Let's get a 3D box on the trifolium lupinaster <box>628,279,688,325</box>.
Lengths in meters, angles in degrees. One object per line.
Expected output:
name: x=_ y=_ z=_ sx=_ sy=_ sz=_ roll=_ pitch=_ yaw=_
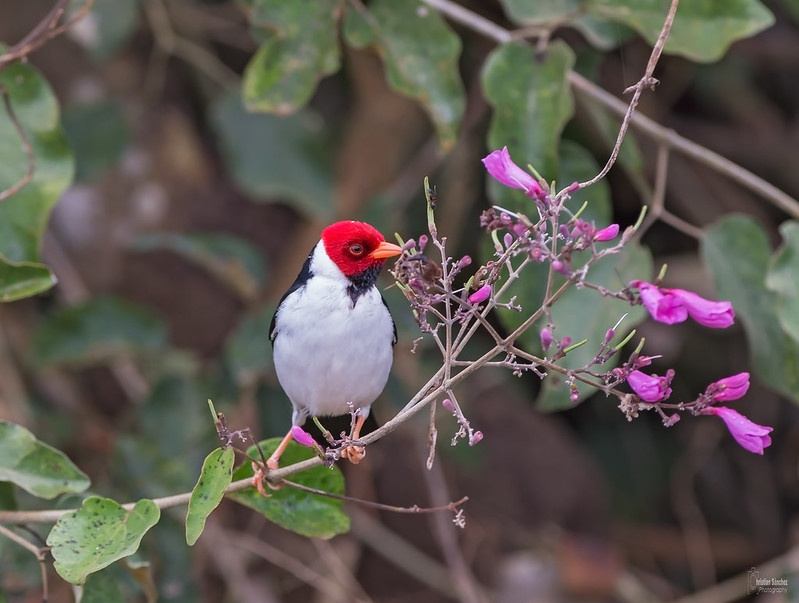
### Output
trifolium lupinaster: x=0.855 y=0.011 z=2.771 sx=0.207 sy=0.084 sz=0.115 roll=36 pitch=57 yaw=24

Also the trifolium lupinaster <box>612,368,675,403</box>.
trifolium lupinaster: x=0.850 y=0.295 z=2.918 sx=0.109 sy=0.105 sz=0.193 roll=-8 pitch=23 yaw=-42

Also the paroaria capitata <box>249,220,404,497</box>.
paroaria capitata: x=-0.305 y=0.195 z=3.606 sx=0.649 sy=1.083 sz=0.573 roll=-4 pitch=13 yaw=-44

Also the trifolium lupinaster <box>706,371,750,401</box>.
trifolium lupinaster: x=1.165 y=0.305 z=2.944 sx=0.144 sy=0.091 sz=0.050 roll=-8 pitch=27 yaw=2
